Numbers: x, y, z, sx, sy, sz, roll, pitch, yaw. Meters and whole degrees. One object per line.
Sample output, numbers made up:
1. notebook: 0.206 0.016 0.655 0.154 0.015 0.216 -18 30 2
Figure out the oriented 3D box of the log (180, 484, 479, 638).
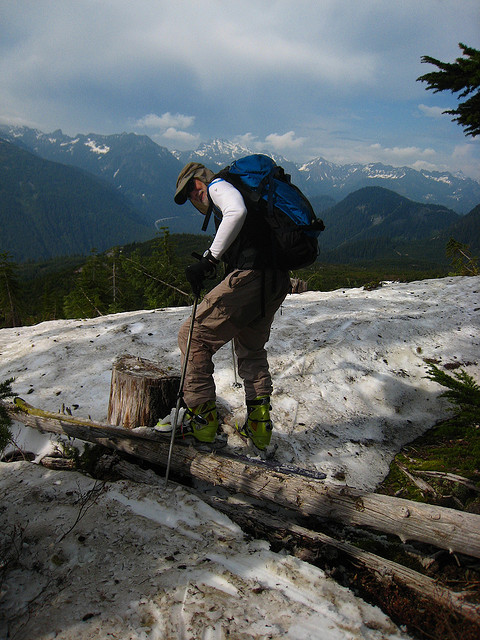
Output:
1. log: 0.327 1.710 4.665 0.557 0.351 4.019 16 4 -35
